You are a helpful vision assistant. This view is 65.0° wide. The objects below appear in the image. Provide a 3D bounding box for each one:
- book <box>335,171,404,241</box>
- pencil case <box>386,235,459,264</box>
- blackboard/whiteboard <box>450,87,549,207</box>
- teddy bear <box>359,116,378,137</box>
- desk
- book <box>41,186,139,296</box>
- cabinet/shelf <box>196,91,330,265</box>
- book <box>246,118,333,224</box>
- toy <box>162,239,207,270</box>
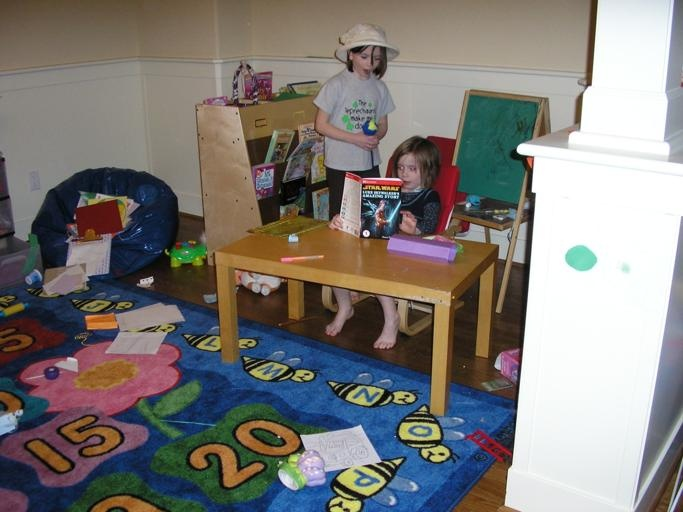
[{"bbox_3d":[0.142,-0.251,2.674,0.301,0.329,0.092,11,19,32],"label":"book"},{"bbox_3d":[0.370,-0.026,2.535,0.233,0.031,0.176,19,30,36],"label":"pencil case"},{"bbox_3d":[1.008,-0.744,3.519,0.426,0.763,0.597,-21,35,-35],"label":"blackboard/whiteboard"},{"bbox_3d":[0.158,-0.793,3.279,0.114,0.145,0.110,-17,47,-14],"label":"teddy bear"},{"bbox_3d":[0.199,0.022,3.280,1.797,0.765,1.445,11,26,23],"label":"desk"},{"bbox_3d":[-1.813,-0.107,3.843,0.476,0.592,0.715,-19,35,-36],"label":"book"},{"bbox_3d":[-0.674,-0.579,3.863,0.982,1.016,0.575,-20,37,-39],"label":"cabinet/shelf"},{"bbox_3d":[-0.394,-0.571,3.746,0.308,0.632,0.581,26,37,36],"label":"book"},{"bbox_3d":[-1.157,-0.020,4.054,0.247,0.140,0.222,0,24,-4],"label":"toy"}]
